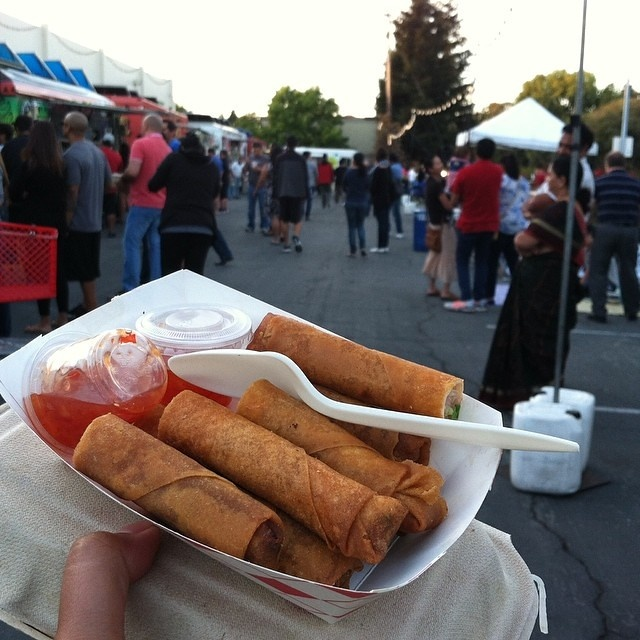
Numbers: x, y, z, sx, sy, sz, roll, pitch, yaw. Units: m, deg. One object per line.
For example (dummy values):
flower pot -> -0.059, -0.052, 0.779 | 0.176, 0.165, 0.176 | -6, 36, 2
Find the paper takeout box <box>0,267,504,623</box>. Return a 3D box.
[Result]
paper takeout box -> -0.083, 0.146, 0.829 | 0.541, 0.137, 0.403 | 27, 34, 26

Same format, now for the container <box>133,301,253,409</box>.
container -> -0.172, 0.007, 0.870 | 0.132, 0.099, 0.141 | -10, 31, -29

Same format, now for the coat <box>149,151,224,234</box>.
coat -> -1.293, -1.242, 6.145 | 0.671, 0.880, 0.518 | 6, -8, -35

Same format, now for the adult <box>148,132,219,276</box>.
adult -> -1.353, -0.912, 6.179 | 0.614, 1.945, 0.558 | 6, -2, -28

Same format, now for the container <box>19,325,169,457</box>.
container -> -0.271, 0.072, 0.841 | 0.161, 0.138, 0.175 | -26, 8, 29

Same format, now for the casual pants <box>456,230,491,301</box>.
casual pants -> 1.950, -0.795, 7.816 | 0.358, 1.365, 0.312 | 5, -20, 15

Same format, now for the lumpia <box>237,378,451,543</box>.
lumpia -> -0.008, 0.118, 0.778 | 0.330, 0.114, 0.108 | 29, 23, 34

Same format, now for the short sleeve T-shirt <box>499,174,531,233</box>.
short sleeve T-shirt -> 2.545, -1.554, 8.027 | 0.532, 0.807, 0.408 | -2, -1, -14

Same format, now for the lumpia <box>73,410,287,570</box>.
lumpia -> -0.158, 0.187, 0.668 | 0.250, 0.116, 0.059 | 9, 14, 27

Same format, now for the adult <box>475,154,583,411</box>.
adult -> 1.569, -0.221, 4.399 | 0.413, 1.835, 0.603 | 5, 7, -27

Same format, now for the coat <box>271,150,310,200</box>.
coat -> -0.555, -2.886, 11.861 | 0.696, 1.089, 0.411 | 2, 44, 0

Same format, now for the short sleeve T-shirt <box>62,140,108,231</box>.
short sleeve T-shirt -> -2.358, -1.387, 6.275 | 0.254, 0.858, 0.596 | 9, 20, 11

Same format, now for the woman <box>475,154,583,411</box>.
woman -> 1.560, -0.219, 4.410 | 0.416, 1.833, 0.592 | 7, 7, -21

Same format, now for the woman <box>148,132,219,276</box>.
woman -> -1.340, -0.914, 6.189 | 0.593, 1.959, 0.582 | 5, -2, -21

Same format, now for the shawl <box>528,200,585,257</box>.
shawl -> 1.635, -0.685, 4.230 | 0.341, 0.567, 0.175 | 9, -15, 18

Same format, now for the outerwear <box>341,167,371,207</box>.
outerwear -> 0.751, -2.688, 12.196 | 0.578, 0.897, 0.462 | -2, 26, -3
